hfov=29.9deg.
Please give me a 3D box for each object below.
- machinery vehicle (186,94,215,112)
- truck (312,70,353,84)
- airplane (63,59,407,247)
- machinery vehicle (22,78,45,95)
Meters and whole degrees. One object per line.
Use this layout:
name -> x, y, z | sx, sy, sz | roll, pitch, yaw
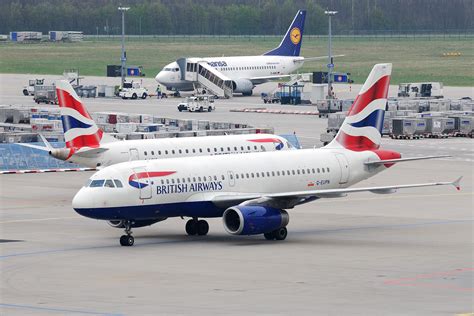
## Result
machinery vehicle -> -4.765, -7.271, 121.140 | 3.674, 1.513, 2.282 | -1, 1, -36
truck -> 14.509, -12.976, 141.406 | 6.896, 1.308, 3.082 | 1, 5, 6
airplane -> 0.252, 1.327, 59.100 | 19.930, 5.336, 15.818 | -3, 8, -35
machinery vehicle -> -32.306, -11.073, 140.401 | 3.050, 1.930, 4.243 | 1, 2, 25
